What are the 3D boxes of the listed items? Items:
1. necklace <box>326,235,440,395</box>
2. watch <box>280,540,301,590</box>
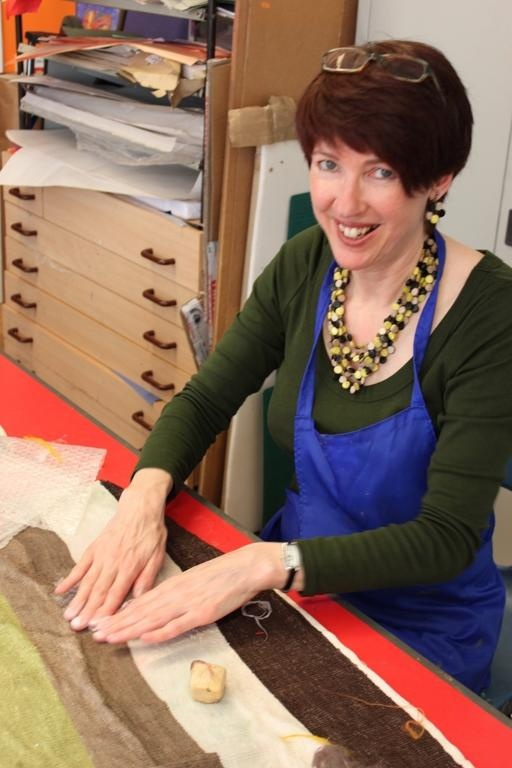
[{"bbox_3d":[0.197,-0.099,0.958,0.038,0.229,0.167,4,15,-45],"label":"necklace"},{"bbox_3d":[0.042,0.211,0.735,0.029,0.043,0.042,0,23,-4],"label":"watch"}]
